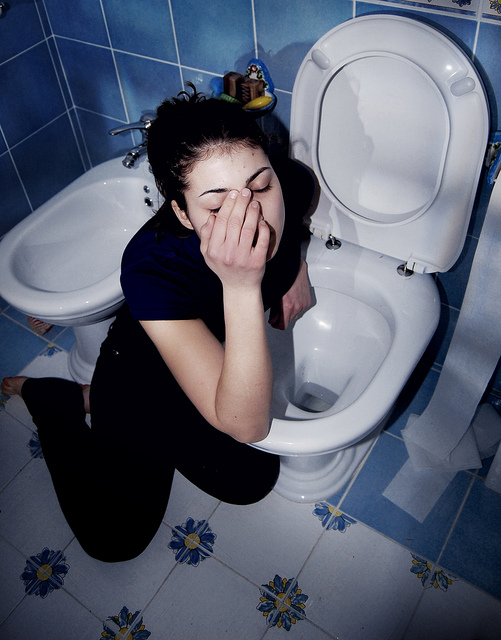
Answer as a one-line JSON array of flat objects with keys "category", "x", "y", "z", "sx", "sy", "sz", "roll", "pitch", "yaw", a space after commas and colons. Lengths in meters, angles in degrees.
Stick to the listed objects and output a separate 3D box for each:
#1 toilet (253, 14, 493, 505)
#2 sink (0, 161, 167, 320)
[{"category": "toilet", "x": 0.194, "y": -0.058, "z": 0.939, "sx": 0.330, "sy": 0.860, "sz": 0.440, "roll": 0, "pitch": 28, "yaw": 1}, {"category": "sink", "x": -0.377, "y": -0.141, "z": 1.317, "sx": 0.300, "sy": 0.170, "sz": 0.482, "roll": 28, "pitch": 56, "yaw": 11}]
